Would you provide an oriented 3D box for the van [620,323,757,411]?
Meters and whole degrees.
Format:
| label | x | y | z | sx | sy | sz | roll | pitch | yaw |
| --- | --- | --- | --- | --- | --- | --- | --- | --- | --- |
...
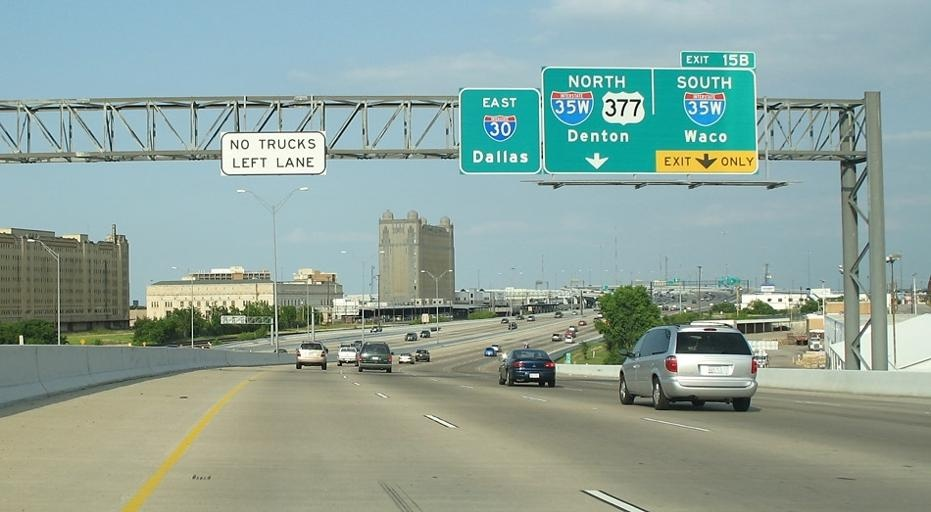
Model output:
| label | x | y | z | sx | sy | sz | roll | pitch | yaw |
| --- | --- | --- | --- | --- | --- | --- | --- | --- | --- |
| van | 10.864 | 5.558 | 70.557 | 4.996 | 3.876 | 9.189 | 0 | -2 | -10 |
